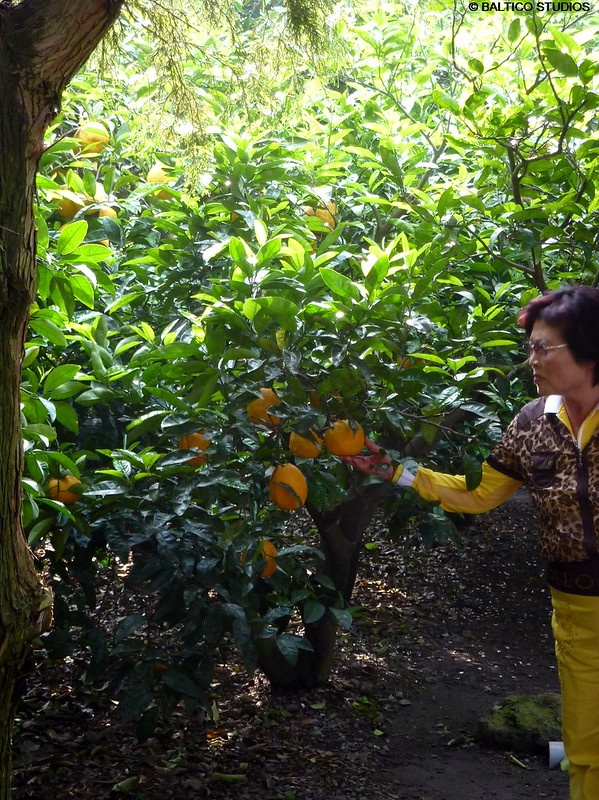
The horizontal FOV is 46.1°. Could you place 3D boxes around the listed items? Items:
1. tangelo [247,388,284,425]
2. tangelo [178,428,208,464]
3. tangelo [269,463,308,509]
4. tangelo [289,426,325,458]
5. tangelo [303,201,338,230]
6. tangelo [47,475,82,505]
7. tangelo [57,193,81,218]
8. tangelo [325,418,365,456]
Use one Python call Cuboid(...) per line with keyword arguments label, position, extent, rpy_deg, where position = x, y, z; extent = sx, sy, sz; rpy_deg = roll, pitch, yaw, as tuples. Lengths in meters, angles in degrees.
Cuboid(label="tangelo", position=(-0.091, 0.018, 1.805), extent=(0.060, 0.089, 0.063), rpy_deg=(-4, -46, -33))
Cuboid(label="tangelo", position=(-0.273, 0.126, 1.859), extent=(0.085, 0.084, 0.061), rpy_deg=(-14, 9, -17))
Cuboid(label="tangelo", position=(-0.041, 0.223, 1.830), extent=(0.137, 0.125, 0.113), rpy_deg=(-6, -4, -8))
Cuboid(label="tangelo", position=(0.022, 0.116, 1.829), extent=(0.087, 0.078, 0.074), rpy_deg=(-1, 1, 4))
Cuboid(label="tangelo", position=(0.075, -0.674, 2.614), extent=(0.133, 0.103, 0.150), rpy_deg=(1, 6, -5))
Cuboid(label="tangelo", position=(-0.623, 0.240, 1.908), extent=(0.093, 0.071, 0.079), rpy_deg=(-6, -29, 11))
Cuboid(label="tangelo", position=(-0.768, -0.639, 2.351), extent=(0.069, 0.059, 0.158), rpy_deg=(8, 8, -25))
Cuboid(label="tangelo", position=(0.118, 0.104, 1.899), extent=(0.113, 0.098, 0.103), rpy_deg=(-4, -5, -1))
